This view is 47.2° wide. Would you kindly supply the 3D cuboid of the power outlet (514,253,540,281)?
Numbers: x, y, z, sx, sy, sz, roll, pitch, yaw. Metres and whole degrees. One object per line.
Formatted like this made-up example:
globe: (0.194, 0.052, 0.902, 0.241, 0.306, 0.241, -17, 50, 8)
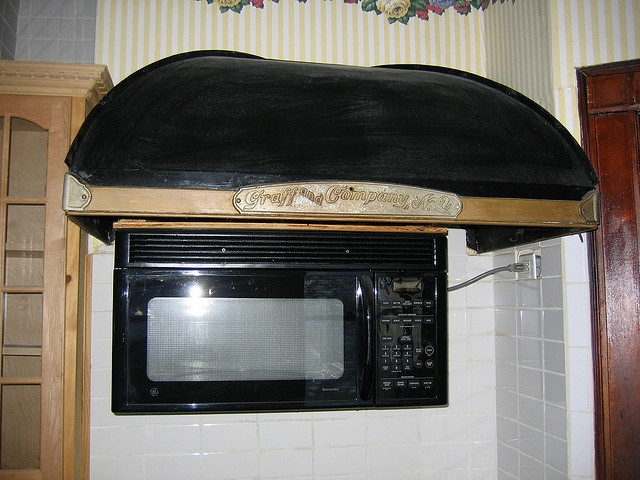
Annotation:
power outlet: (0.703, 0.090, 2.478, 0.037, 0.091, 0.090, 4, -5, -23)
